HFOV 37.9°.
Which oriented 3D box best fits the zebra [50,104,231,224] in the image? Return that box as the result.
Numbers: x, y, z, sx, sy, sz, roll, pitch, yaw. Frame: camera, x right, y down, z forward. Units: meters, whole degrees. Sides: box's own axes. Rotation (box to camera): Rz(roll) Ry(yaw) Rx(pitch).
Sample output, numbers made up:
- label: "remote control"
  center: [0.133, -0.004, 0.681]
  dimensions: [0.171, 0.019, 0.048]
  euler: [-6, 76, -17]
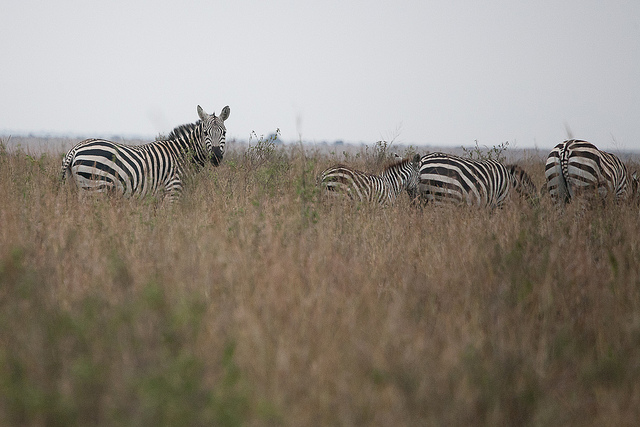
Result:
- label: "zebra"
  center: [-2.008, -0.414, 10.702]
  dimensions: [2.307, 1.935, 0.652]
  euler: [-9, 14, -41]

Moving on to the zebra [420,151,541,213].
- label: "zebra"
  center: [1.926, -0.361, 11.366]
  dimensions: [1.408, 0.735, 1.477]
  euler: [8, 2, 6]

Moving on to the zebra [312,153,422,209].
- label: "zebra"
  center: [0.613, -0.431, 11.090]
  dimensions: [1.515, 0.659, 1.090]
  euler: [7, 2, -17]
